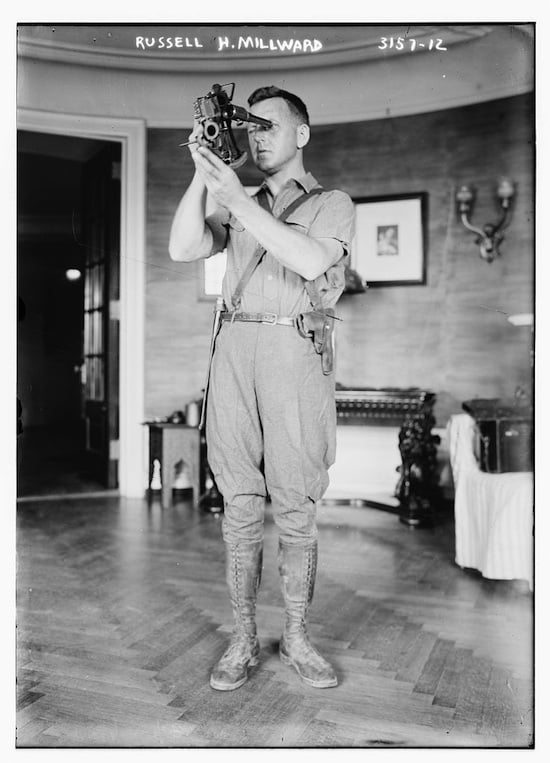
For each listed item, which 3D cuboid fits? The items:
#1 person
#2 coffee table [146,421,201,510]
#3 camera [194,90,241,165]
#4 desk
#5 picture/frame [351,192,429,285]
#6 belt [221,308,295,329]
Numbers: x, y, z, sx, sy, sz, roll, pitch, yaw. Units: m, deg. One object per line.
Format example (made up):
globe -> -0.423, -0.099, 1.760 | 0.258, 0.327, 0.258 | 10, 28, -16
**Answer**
person -> -0.032, 0.007, 1.888 | 0.452, 1.479, 0.491 | 1, 4, -9
coffee table -> -0.496, 0.397, 3.925 | 0.198, 0.396, 0.383 | -2, 7, -15
camera -> -0.130, -0.560, 1.707 | 0.105, 0.196, 0.056 | -7, -22, 7
desk -> 0.398, 0.378, 3.884 | 0.657, 0.676, 0.414 | -1, -5, 4
picture/frame -> 0.606, -0.755, 3.944 | 0.520, 0.622, 0.039 | 4, 10, 22
belt -> -0.041, -0.155, 1.893 | 0.196, 0.035, 0.052 | 5, 5, 35
